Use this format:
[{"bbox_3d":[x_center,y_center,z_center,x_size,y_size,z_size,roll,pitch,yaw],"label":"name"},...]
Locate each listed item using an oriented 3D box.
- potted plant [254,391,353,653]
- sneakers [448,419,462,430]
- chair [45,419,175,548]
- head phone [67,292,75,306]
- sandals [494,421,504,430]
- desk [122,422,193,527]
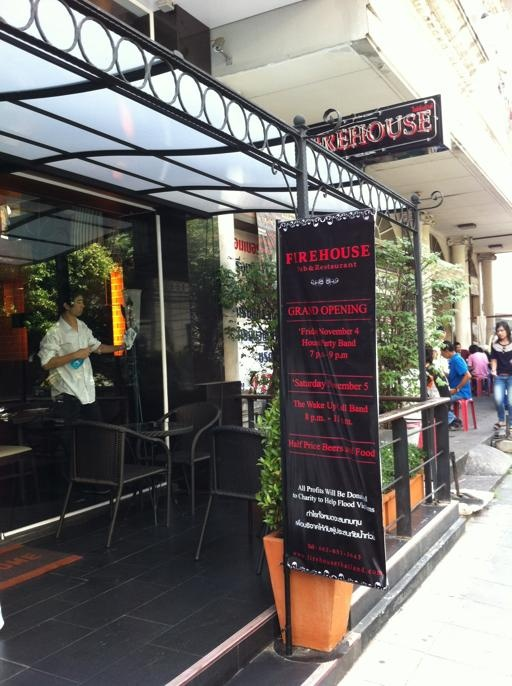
[{"bbox_3d":[0.207,0.842,2.595,0.492,1.137,0.411,0,-4,23],"label":"potted plant"},{"bbox_3d":[3.332,1.369,8.882,0.157,0.194,0.443,-11,-18,24],"label":"sneakers"},{"bbox_3d":[-1.085,0.993,3.962,0.619,0.832,0.769,-1,-4,27],"label":"chair"},{"bbox_3d":[-1.600,-0.382,4.596,0.074,0.096,0.088,-7,35,-23],"label":"head phone"},{"bbox_3d":[3.880,1.316,8.482,0.129,0.118,0.128,2,0,-32],"label":"sandals"},{"bbox_3d":[-0.964,1.118,4.699,0.641,0.696,0.653,27,-17,-26],"label":"desk"}]
